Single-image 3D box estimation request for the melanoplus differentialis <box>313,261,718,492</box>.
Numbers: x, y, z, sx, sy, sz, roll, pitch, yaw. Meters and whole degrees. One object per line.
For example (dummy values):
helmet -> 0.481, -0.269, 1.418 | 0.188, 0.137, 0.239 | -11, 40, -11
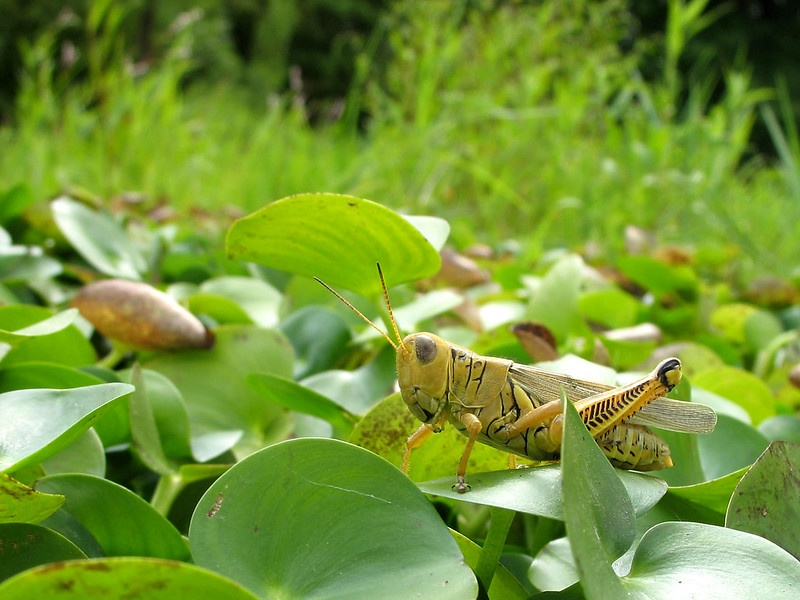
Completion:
melanoplus differentialis -> 0.155, 0.129, 1.436 | 0.502, 0.212, 0.272 | 14, 73, -1
